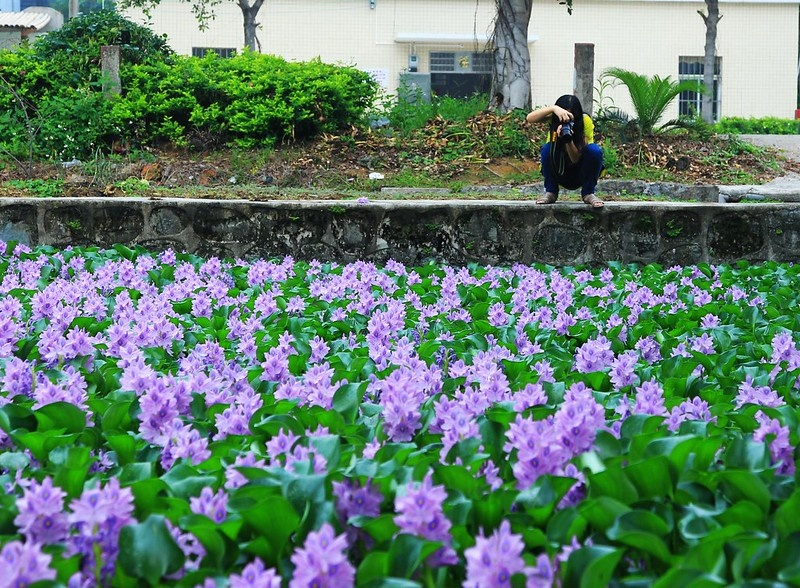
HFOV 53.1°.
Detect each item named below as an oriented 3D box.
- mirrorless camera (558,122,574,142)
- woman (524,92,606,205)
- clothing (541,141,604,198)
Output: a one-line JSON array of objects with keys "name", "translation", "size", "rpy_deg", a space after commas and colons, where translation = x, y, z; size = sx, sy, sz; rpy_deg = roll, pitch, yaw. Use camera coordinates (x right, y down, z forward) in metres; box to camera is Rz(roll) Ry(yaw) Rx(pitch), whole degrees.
[{"name": "mirrorless camera", "translation": [1.453, -1.421, 6.969], "size": [0.060, 0.107, 0.265], "rpy_deg": [8, 33, 3]}, {"name": "woman", "translation": [1.500, -1.309, 7.263], "size": [0.576, 1.073, 0.629], "rpy_deg": [1, 1, 2]}, {"name": "clothing", "translation": [1.579, -1.122, 7.326], "size": [0.421, 0.590, 0.521], "rpy_deg": [6, 45, 17]}]
